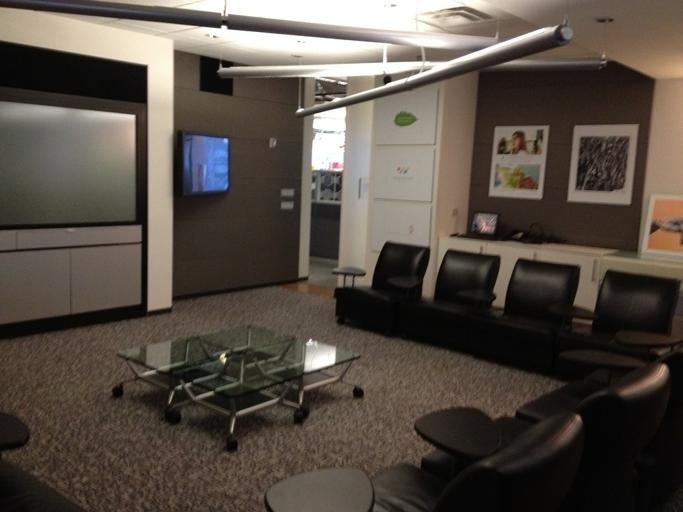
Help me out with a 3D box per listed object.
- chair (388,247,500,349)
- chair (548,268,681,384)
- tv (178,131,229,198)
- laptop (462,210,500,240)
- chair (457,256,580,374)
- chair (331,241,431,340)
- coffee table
[{"bbox_3d":[1.365,0.547,6.310,1.071,1.208,1.132,11,12,42],"label":"chair"},{"bbox_3d":[2.523,0.660,4.727,0.817,1.088,0.865,7,5,-33],"label":"chair"},{"bbox_3d":[-2.059,-1.338,7.487,0.115,0.832,0.914,11,14,33],"label":"tv"},{"bbox_3d":[2.217,-0.479,8.088,0.493,0.440,0.486,10,20,29],"label":"laptop"},{"bbox_3d":[2.036,0.677,5.868,1.202,1.372,1.087,12,9,43],"label":"chair"},{"bbox_3d":[0.610,0.437,6.744,1.243,1.167,1.094,10,9,43],"label":"chair"},{"bbox_3d":[-0.800,0.984,4.486,1.123,0.321,1.192,9,7,39],"label":"coffee table"}]
